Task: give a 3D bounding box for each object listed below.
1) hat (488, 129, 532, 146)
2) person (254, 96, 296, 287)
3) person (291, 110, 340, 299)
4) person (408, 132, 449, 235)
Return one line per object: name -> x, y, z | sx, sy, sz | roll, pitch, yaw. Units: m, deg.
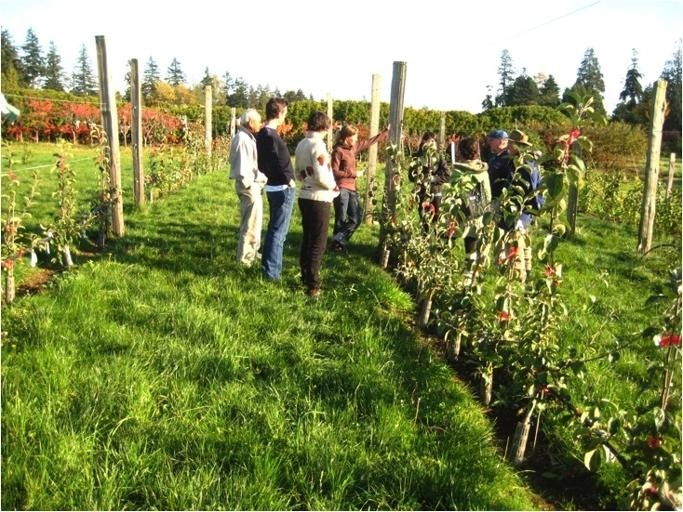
hat -> 2.350, -1.662, 8.731 | 0.508, 0.189, 0.516 | 18, 5, -3
person -> -0.921, -0.897, 8.380 | 0.538, 2.382, 0.392 | 4, 9, 0
person -> -0.372, -0.682, 8.143 | 0.564, 2.330, 0.346 | 9, 11, 31
person -> 1.328, -1.159, 9.557 | 0.594, 1.422, 2.058 | 5, 12, 9
